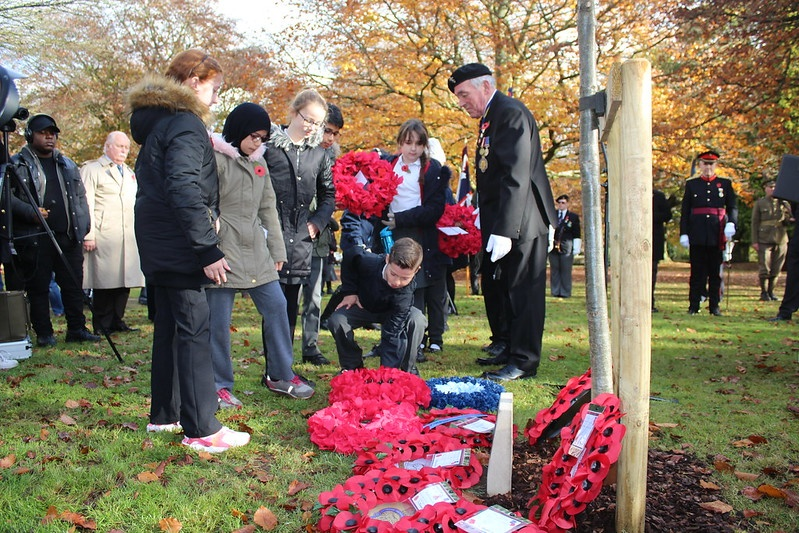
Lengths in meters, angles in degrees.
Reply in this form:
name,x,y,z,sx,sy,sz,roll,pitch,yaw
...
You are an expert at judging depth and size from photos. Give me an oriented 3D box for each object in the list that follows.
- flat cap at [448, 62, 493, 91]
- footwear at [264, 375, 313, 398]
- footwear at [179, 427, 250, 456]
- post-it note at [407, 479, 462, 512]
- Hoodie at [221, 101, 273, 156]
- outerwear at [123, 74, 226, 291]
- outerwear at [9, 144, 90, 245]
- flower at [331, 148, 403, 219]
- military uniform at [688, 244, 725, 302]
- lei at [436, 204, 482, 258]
name,x,y,z,sx,sy,sz,roll,pitch,yaw
flat cap,0.728,-2.053,7.529,0.405,0.148,0.297,-3,25,29
footwear,-1.056,1.190,6.784,0.494,0.180,0.176,8,-1,8
footwear,-1.541,1.433,5.740,0.552,0.218,0.204,-3,-3,-14
post-it note,0.240,1.640,4.912,0.214,0.053,0.198,-17,27,-18
Hoodie,-1.419,-1.299,6.340,0.493,0.502,0.383,4,16,21
outerwear,-1.845,-0.689,5.639,0.677,1.724,0.585,-3,13,-16
outerwear,-4.379,-0.896,8.630,0.953,1.219,0.529,-9,15,-37
flower,-0.397,-0.915,7.610,0.764,0.717,0.319,11,-24,-2
military uniform,5.269,0.132,11.872,0.545,1.015,0.952,6,13,23
lei,0.699,-0.477,8.282,0.621,0.599,0.335,7,-24,-15
